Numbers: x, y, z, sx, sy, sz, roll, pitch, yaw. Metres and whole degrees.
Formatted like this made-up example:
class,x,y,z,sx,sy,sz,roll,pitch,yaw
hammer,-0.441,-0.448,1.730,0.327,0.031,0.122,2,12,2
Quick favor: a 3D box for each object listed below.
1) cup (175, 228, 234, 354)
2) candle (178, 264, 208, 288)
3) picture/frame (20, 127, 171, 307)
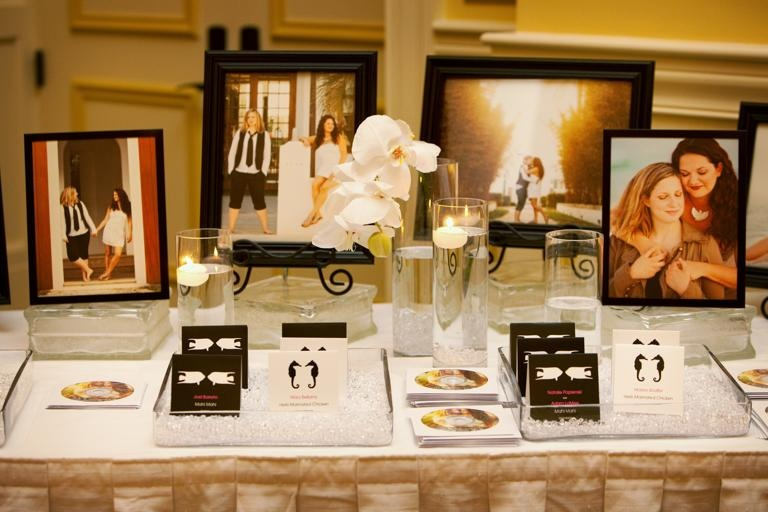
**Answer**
class,x,y,z,sx,sy,sz,roll,pitch,yaw
cup,-0.439,0.059,1.719,0.137,0.232,0.109,-4,10,-15
candle,-0.465,0.046,1.706,0.060,0.030,0.058,-3,6,-37
picture/frame,-0.793,-0.102,1.941,0.518,0.638,0.028,-2,1,-4
